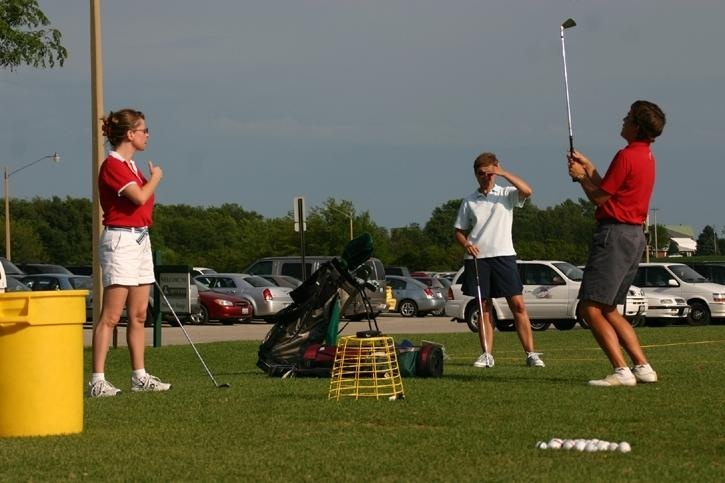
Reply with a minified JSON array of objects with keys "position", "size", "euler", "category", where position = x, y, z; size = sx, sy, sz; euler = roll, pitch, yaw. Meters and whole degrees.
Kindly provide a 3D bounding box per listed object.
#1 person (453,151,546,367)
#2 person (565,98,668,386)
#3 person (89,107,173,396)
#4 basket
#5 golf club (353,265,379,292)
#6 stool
[{"position":[1.495,0.086,16.535],"size":[1.018,2.965,1.278],"euler":[0,-2,-10],"category":"person"},{"position":[2.713,0.014,14.275],"size":[0.955,3.063,0.660],"euler":[-1,0,11],"category":"person"},{"position":[-2.553,0.107,14.422],"size":[0.825,2.879,0.510],"euler":[-1,0,-20],"category":"person"},{"position":[0.040,1.361,14.581],"size":[0.794,0.647,0.752],"euler":[-1,-2,2],"category":"basket"},{"position":[0.036,0.441,16.001],"size":[0.349,0.259,0.126],"euler":[32,13,15],"category":"golf club"},{"position":[0.031,1.359,14.557],"size":[0.785,0.651,0.743],"euler":[-1,-2,2],"category":"stool"}]
